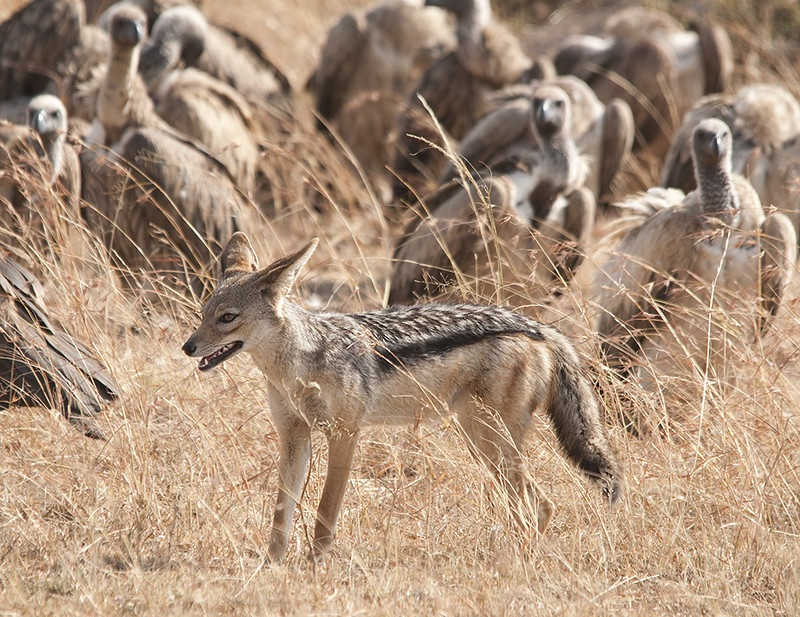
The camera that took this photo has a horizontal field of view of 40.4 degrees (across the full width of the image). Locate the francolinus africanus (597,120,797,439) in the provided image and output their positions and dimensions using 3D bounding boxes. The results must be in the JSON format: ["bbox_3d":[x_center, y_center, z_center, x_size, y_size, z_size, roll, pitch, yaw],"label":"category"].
[{"bbox_3d":[2.032,-0.264,7.477,1.211,2.342,1.230,-11,13,-30],"label":"francolinus africanus"}]

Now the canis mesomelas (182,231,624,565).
[{"bbox_3d":[0.095,0.510,5.994,2.355,1.794,0.661,2,5,-19],"label":"canis mesomelas"}]
